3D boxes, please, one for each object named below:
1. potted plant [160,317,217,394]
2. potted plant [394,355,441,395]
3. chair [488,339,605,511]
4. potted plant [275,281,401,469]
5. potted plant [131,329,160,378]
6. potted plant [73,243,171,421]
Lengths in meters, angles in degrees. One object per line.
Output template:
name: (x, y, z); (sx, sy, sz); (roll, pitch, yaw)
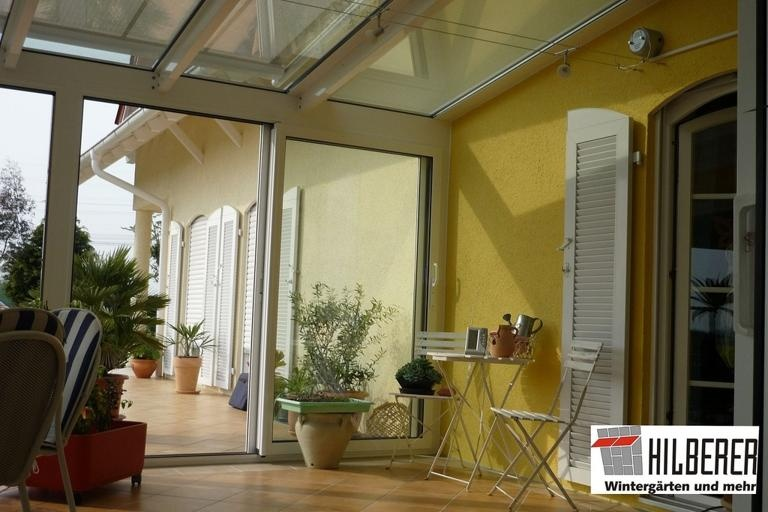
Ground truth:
potted plant: (-3.142, 1.698, 9.769); (1.032, 1.162, 0.620); (-6, -12, 43)
potted plant: (0.334, 1.131, 5.660); (0.355, 0.291, 0.356); (3, -9, -11)
chair: (1.224, 1.334, 4.841); (0.792, 1.283, 1.048); (6, -12, -13)
potted plant: (-0.462, 1.099, 5.669); (1.053, 1.731, 0.566); (5, -12, -10)
potted plant: (-4.321, 1.856, 10.978); (0.460, 0.797, 0.406); (-6, -2, -10)
potted plant: (-2.481, 0.666, 5.401); (1.058, 1.489, 0.927); (-3, -6, 28)
